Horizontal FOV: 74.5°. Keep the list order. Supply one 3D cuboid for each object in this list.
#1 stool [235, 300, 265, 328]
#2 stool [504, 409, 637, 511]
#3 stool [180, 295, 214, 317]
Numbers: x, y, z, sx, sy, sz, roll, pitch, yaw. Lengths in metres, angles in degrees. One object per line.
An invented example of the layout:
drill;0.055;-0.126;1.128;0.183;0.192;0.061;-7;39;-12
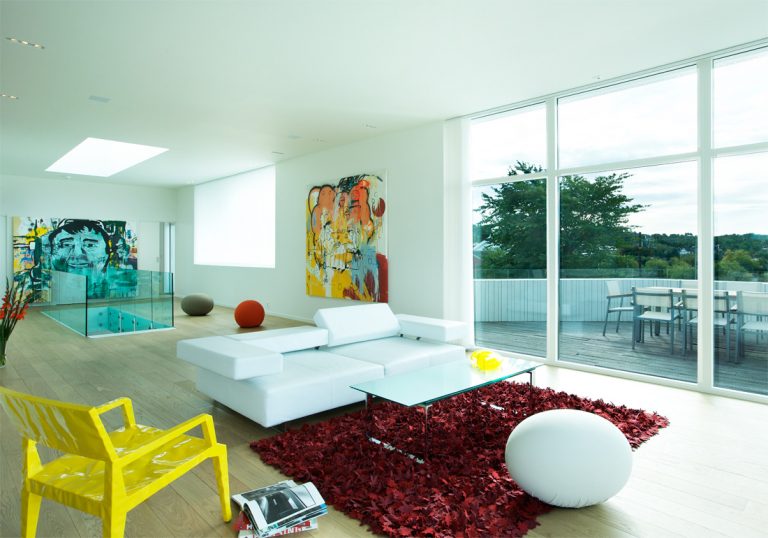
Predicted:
stool;-2.435;0.826;9.080;0.452;0.456;0.238;-1;-3;-6
stool;1.337;1.354;3.734;0.827;0.631;0.606;2;-17;15
stool;-3.956;0.750;10.509;0.469;0.319;0.461;0;-1;37
